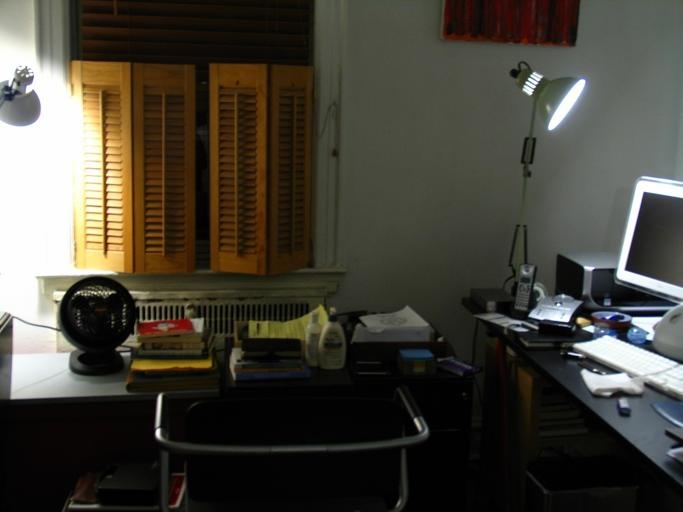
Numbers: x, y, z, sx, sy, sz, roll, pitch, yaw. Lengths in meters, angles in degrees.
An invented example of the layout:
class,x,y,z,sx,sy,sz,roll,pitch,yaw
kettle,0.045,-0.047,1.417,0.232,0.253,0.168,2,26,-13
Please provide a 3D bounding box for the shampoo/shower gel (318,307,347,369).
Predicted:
class,x,y,z,sx,sy,sz,roll,pitch,yaw
shampoo/shower gel,-0.040,0.339,2.557,0.119,0.258,0.059,-1,7,-8

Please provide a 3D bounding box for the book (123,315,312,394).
class,x,y,z,sx,sy,sz,roll,pitch,yaw
book,-0.516,0.387,2.508,0.674,0.238,0.247,-2,12,-7

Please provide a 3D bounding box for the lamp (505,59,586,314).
class,x,y,z,sx,sy,sz,roll,pitch,yaw
lamp,0.888,-0.230,2.988,0.293,1.461,0.306,0,12,-10

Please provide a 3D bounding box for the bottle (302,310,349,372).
class,x,y,z,sx,sy,sz,roll,pitch,yaw
bottle,-0.075,0.363,2.568,0.210,0.314,0.111,3,11,7
